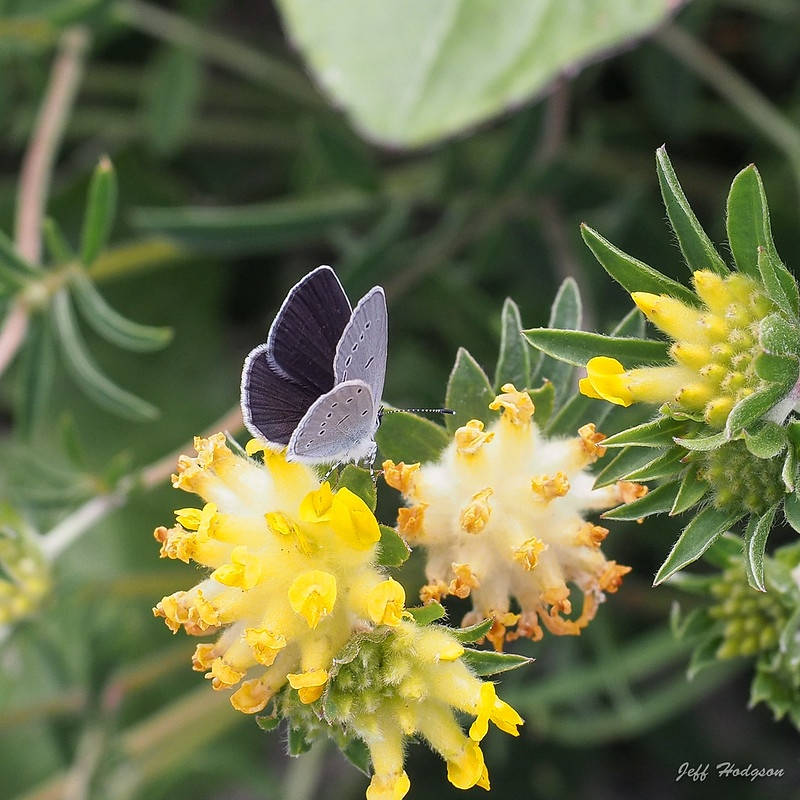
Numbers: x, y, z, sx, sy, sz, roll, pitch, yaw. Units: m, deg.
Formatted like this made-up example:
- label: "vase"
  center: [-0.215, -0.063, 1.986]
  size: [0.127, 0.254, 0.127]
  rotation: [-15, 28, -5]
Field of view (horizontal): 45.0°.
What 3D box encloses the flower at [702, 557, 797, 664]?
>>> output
- label: "flower"
  center: [1.238, 0.733, 3.380]
  size: [0.265, 0.283, 0.298]
  rotation: [-3, 61, -1]
